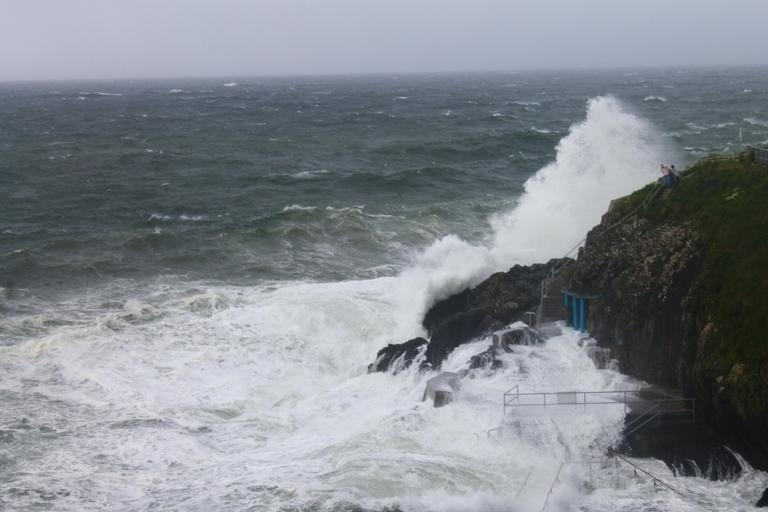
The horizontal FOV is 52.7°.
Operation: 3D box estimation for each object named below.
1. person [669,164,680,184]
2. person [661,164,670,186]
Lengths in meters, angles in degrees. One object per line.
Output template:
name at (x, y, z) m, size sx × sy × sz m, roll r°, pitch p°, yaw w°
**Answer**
person at (12.743, -3.559, 33.994) m, size 0.409 × 0.743 × 0.796 m, roll 4°, pitch 14°, yaw 18°
person at (12.427, -3.569, 34.221) m, size 0.369 × 0.850 × 1.062 m, roll 4°, pitch 14°, yaw 19°
